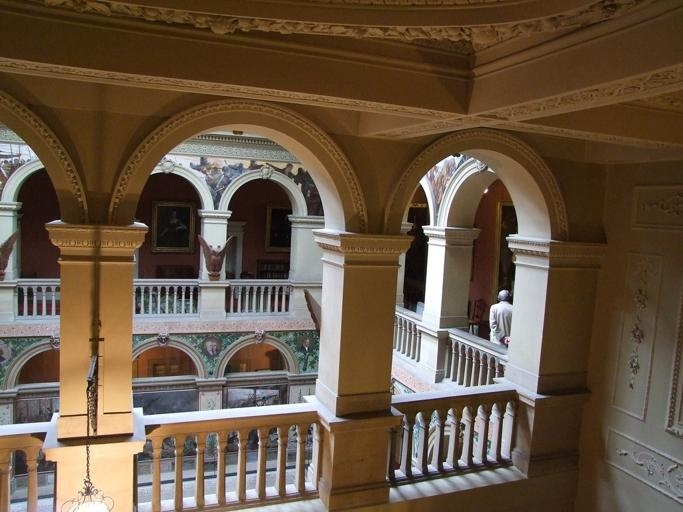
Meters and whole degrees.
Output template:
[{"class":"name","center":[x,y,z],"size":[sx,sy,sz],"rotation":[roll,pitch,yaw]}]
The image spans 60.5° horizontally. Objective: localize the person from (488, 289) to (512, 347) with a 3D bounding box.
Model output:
[{"class":"person","center":[2.370,0.943,8.759],"size":[0.289,0.882,1.092],"rotation":[6,6,15]}]

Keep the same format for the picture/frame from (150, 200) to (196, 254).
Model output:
[{"class":"picture/frame","center":[-4.499,-0.786,15.490],"size":[1.241,1.686,0.164],"rotation":[-1,4,-32]}]

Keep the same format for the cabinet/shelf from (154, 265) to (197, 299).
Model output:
[{"class":"cabinet/shelf","center":[-4.386,0.662,15.590],"size":[0.774,0.807,0.434],"rotation":[-3,16,-21]}]

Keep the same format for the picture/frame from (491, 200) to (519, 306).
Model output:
[{"class":"picture/frame","center":[3.663,-0.168,13.084],"size":[0.458,2.052,0.462],"rotation":[6,5,16]}]

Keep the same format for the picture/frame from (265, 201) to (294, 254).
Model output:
[{"class":"picture/frame","center":[-1.779,-0.801,17.180],"size":[0.873,1.307,0.068],"rotation":[0,6,-36]}]

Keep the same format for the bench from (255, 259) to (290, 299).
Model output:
[{"class":"bench","center":[-1.963,0.661,16.888],"size":[0.928,0.777,0.529],"rotation":[0,-2,-24]}]
